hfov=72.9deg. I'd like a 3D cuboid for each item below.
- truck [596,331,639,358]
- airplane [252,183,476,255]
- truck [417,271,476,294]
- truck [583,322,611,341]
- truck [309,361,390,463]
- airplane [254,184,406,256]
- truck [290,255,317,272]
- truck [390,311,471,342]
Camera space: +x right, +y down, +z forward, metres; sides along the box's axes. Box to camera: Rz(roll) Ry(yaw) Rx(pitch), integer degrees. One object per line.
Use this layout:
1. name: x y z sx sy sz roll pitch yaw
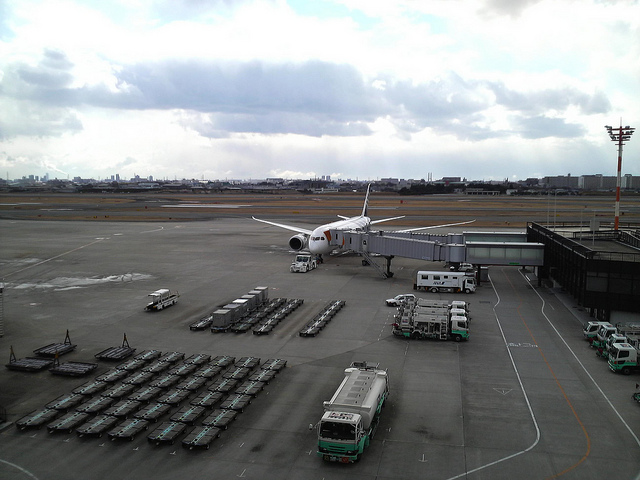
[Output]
1. truck: 25.173 8.806 36.260 3.502 1.801 2.010 -2 0 4
2. airplane: 16.320 -9.596 151.768 51.356 14.170 38.739 3 9 29
3. truck: 16.015 5.428 56.626 8.860 2.830 2.800 0 6 3
4. truck: 25.501 8.383 39.822 2.451 1.278 1.474 -1 1 2
5. truck: 2.044 10.359 26.896 3.281 2.835 8.636 1 4 17
6. airplane: 4.267 -3.457 82.827 35.709 10.424 30.277 -3 7 24
7. truck: -2.500 3.771 68.637 3.002 1.976 4.245 2 10 13
8. truck: 10.641 8.147 41.356 6.936 2.034 3.591 -1 3 20
